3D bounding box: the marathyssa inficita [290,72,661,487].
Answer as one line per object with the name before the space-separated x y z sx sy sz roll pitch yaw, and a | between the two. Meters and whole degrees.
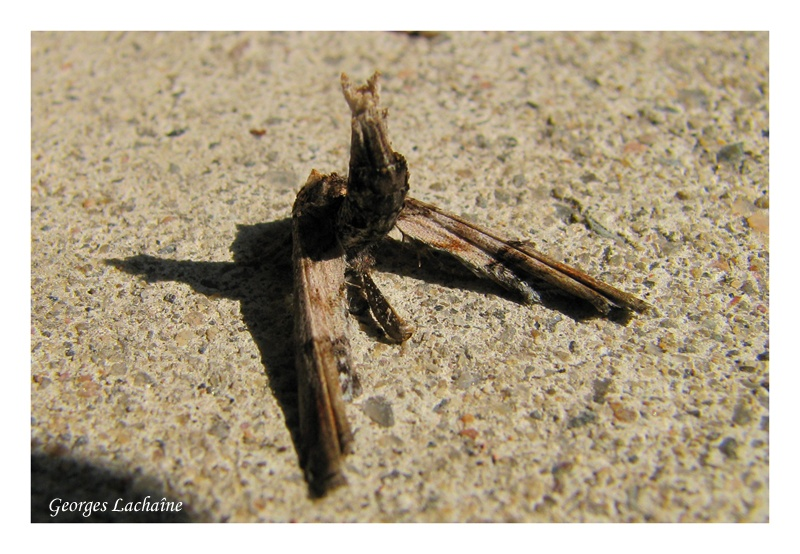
marathyssa inficita | -0.038 0.101 2.382 1.068 0.527 1.059 38 83 8
